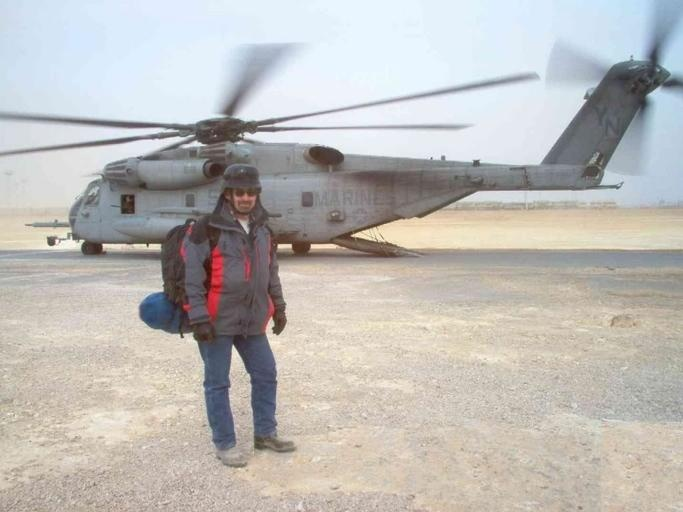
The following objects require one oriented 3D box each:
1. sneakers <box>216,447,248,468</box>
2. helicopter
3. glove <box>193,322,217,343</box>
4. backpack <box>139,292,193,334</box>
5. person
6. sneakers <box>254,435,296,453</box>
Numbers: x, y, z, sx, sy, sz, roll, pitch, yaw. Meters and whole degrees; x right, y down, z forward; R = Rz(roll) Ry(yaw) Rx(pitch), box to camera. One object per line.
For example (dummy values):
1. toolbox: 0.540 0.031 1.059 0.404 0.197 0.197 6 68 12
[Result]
1. sneakers: -0.830 1.510 3.873 0.209 0.107 0.194 -3 8 -17
2. helicopter: 0.225 -2.584 16.710 15.014 4.399 10.690 1 10 4
3. glove: -1.035 0.573 3.857 0.157 0.156 0.099 -2 9 -12
4. backpack: -1.418 0.457 4.096 0.326 0.210 0.424 18 -9 -37
5. person: -0.778 0.403 4.070 0.716 2.249 0.837 9 13 43
6. sneakers: -0.520 1.474 4.062 0.379 0.145 0.115 -1 -1 8
